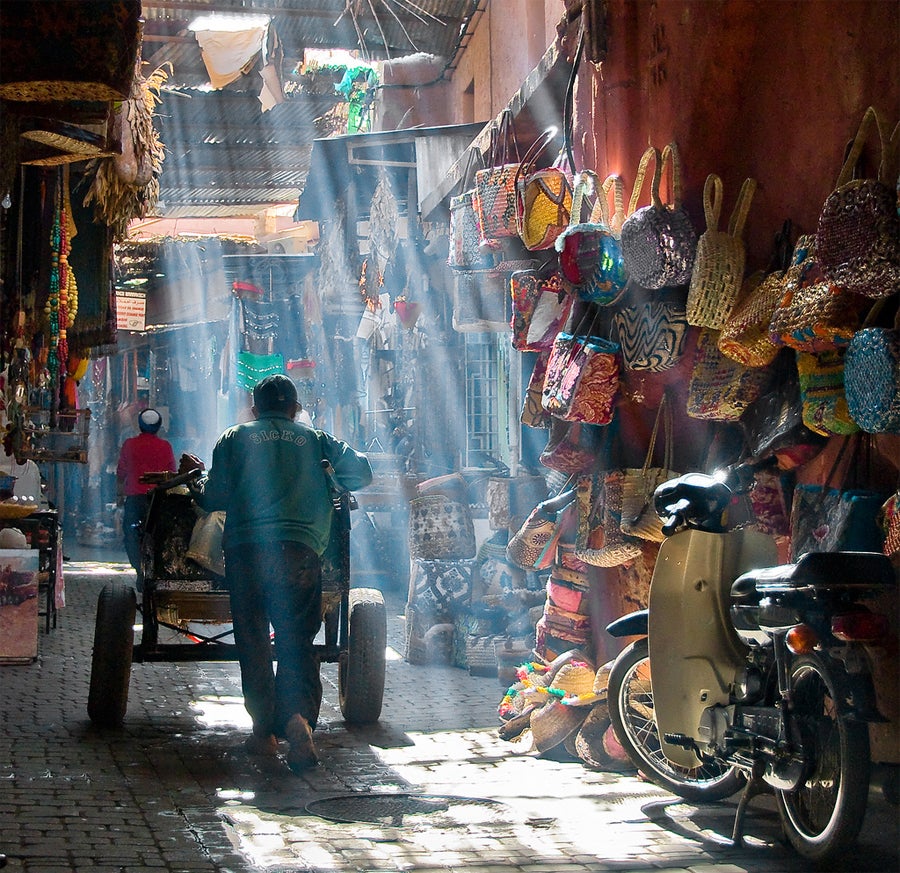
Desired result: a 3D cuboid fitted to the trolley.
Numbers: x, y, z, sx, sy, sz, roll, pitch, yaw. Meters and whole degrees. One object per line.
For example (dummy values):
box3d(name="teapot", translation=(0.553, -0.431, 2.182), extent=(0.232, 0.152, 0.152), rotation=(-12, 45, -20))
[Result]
box3d(name="trolley", translation=(-1.239, 1.095, 6.916), extent=(1.855, 1.826, 2.626), rotation=(4, -6, -2))

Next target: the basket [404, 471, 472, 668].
box3d(name="basket", translation=(-0.086, 1.054, 8.757), extent=(0.552, 1.488, 0.500), rotation=(1, 3, 4))

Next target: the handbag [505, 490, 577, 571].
box3d(name="handbag", translation=(0.537, 0.582, 6.610), extent=(0.217, 0.648, 0.233), rotation=(18, 6, -9))

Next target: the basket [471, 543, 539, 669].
box3d(name="basket", translation=(0.312, 1.292, 8.082), extent=(0.526, 0.888, 0.857), rotation=(3, 2, 12))

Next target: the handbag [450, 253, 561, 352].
box3d(name="handbag", translation=(0.396, -0.911, 7.166), extent=(0.592, 0.258, 0.804), rotation=(1, -3, -34))

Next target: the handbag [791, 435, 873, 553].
box3d(name="handbag", translation=(1.354, 0.207, 3.847), extent=(0.131, 0.368, 0.408), rotation=(3, -1, -10))

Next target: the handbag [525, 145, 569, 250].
box3d(name="handbag", translation=(0.537, -1.323, 6.347), extent=(0.151, 0.439, 0.294), rotation=(2, 5, -34))

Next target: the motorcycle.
box3d(name="motorcycle", translation=(1.043, 0.800, 3.921), extent=(0.420, 1.426, 1.597), rotation=(0, 3, -13))

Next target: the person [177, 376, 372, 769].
box3d(name="person", translation=(-0.825, 0.587, 5.308), extent=(0.700, 1.748, 0.799), rotation=(2, 3, 21))

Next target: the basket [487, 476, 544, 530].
box3d(name="basket", translation=(0.493, 0.490, 8.519), extent=(0.369, 0.492, 0.478), rotation=(0, 1, -9))

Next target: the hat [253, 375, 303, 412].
box3d(name="hat", translation=(-0.882, -0.206, 5.504), extent=(0.171, 0.211, 0.220), rotation=(2, -18, -6))

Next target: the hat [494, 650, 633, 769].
box3d(name="hat", translation=(0.572, 1.363, 5.528), extent=(0.459, 0.286, 0.673), rotation=(0, 11, 1))

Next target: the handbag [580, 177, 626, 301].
box3d(name="handbag", translation=(0.793, -1.019, 5.536), extent=(0.220, 0.710, 0.758), rotation=(1, 3, 8))
